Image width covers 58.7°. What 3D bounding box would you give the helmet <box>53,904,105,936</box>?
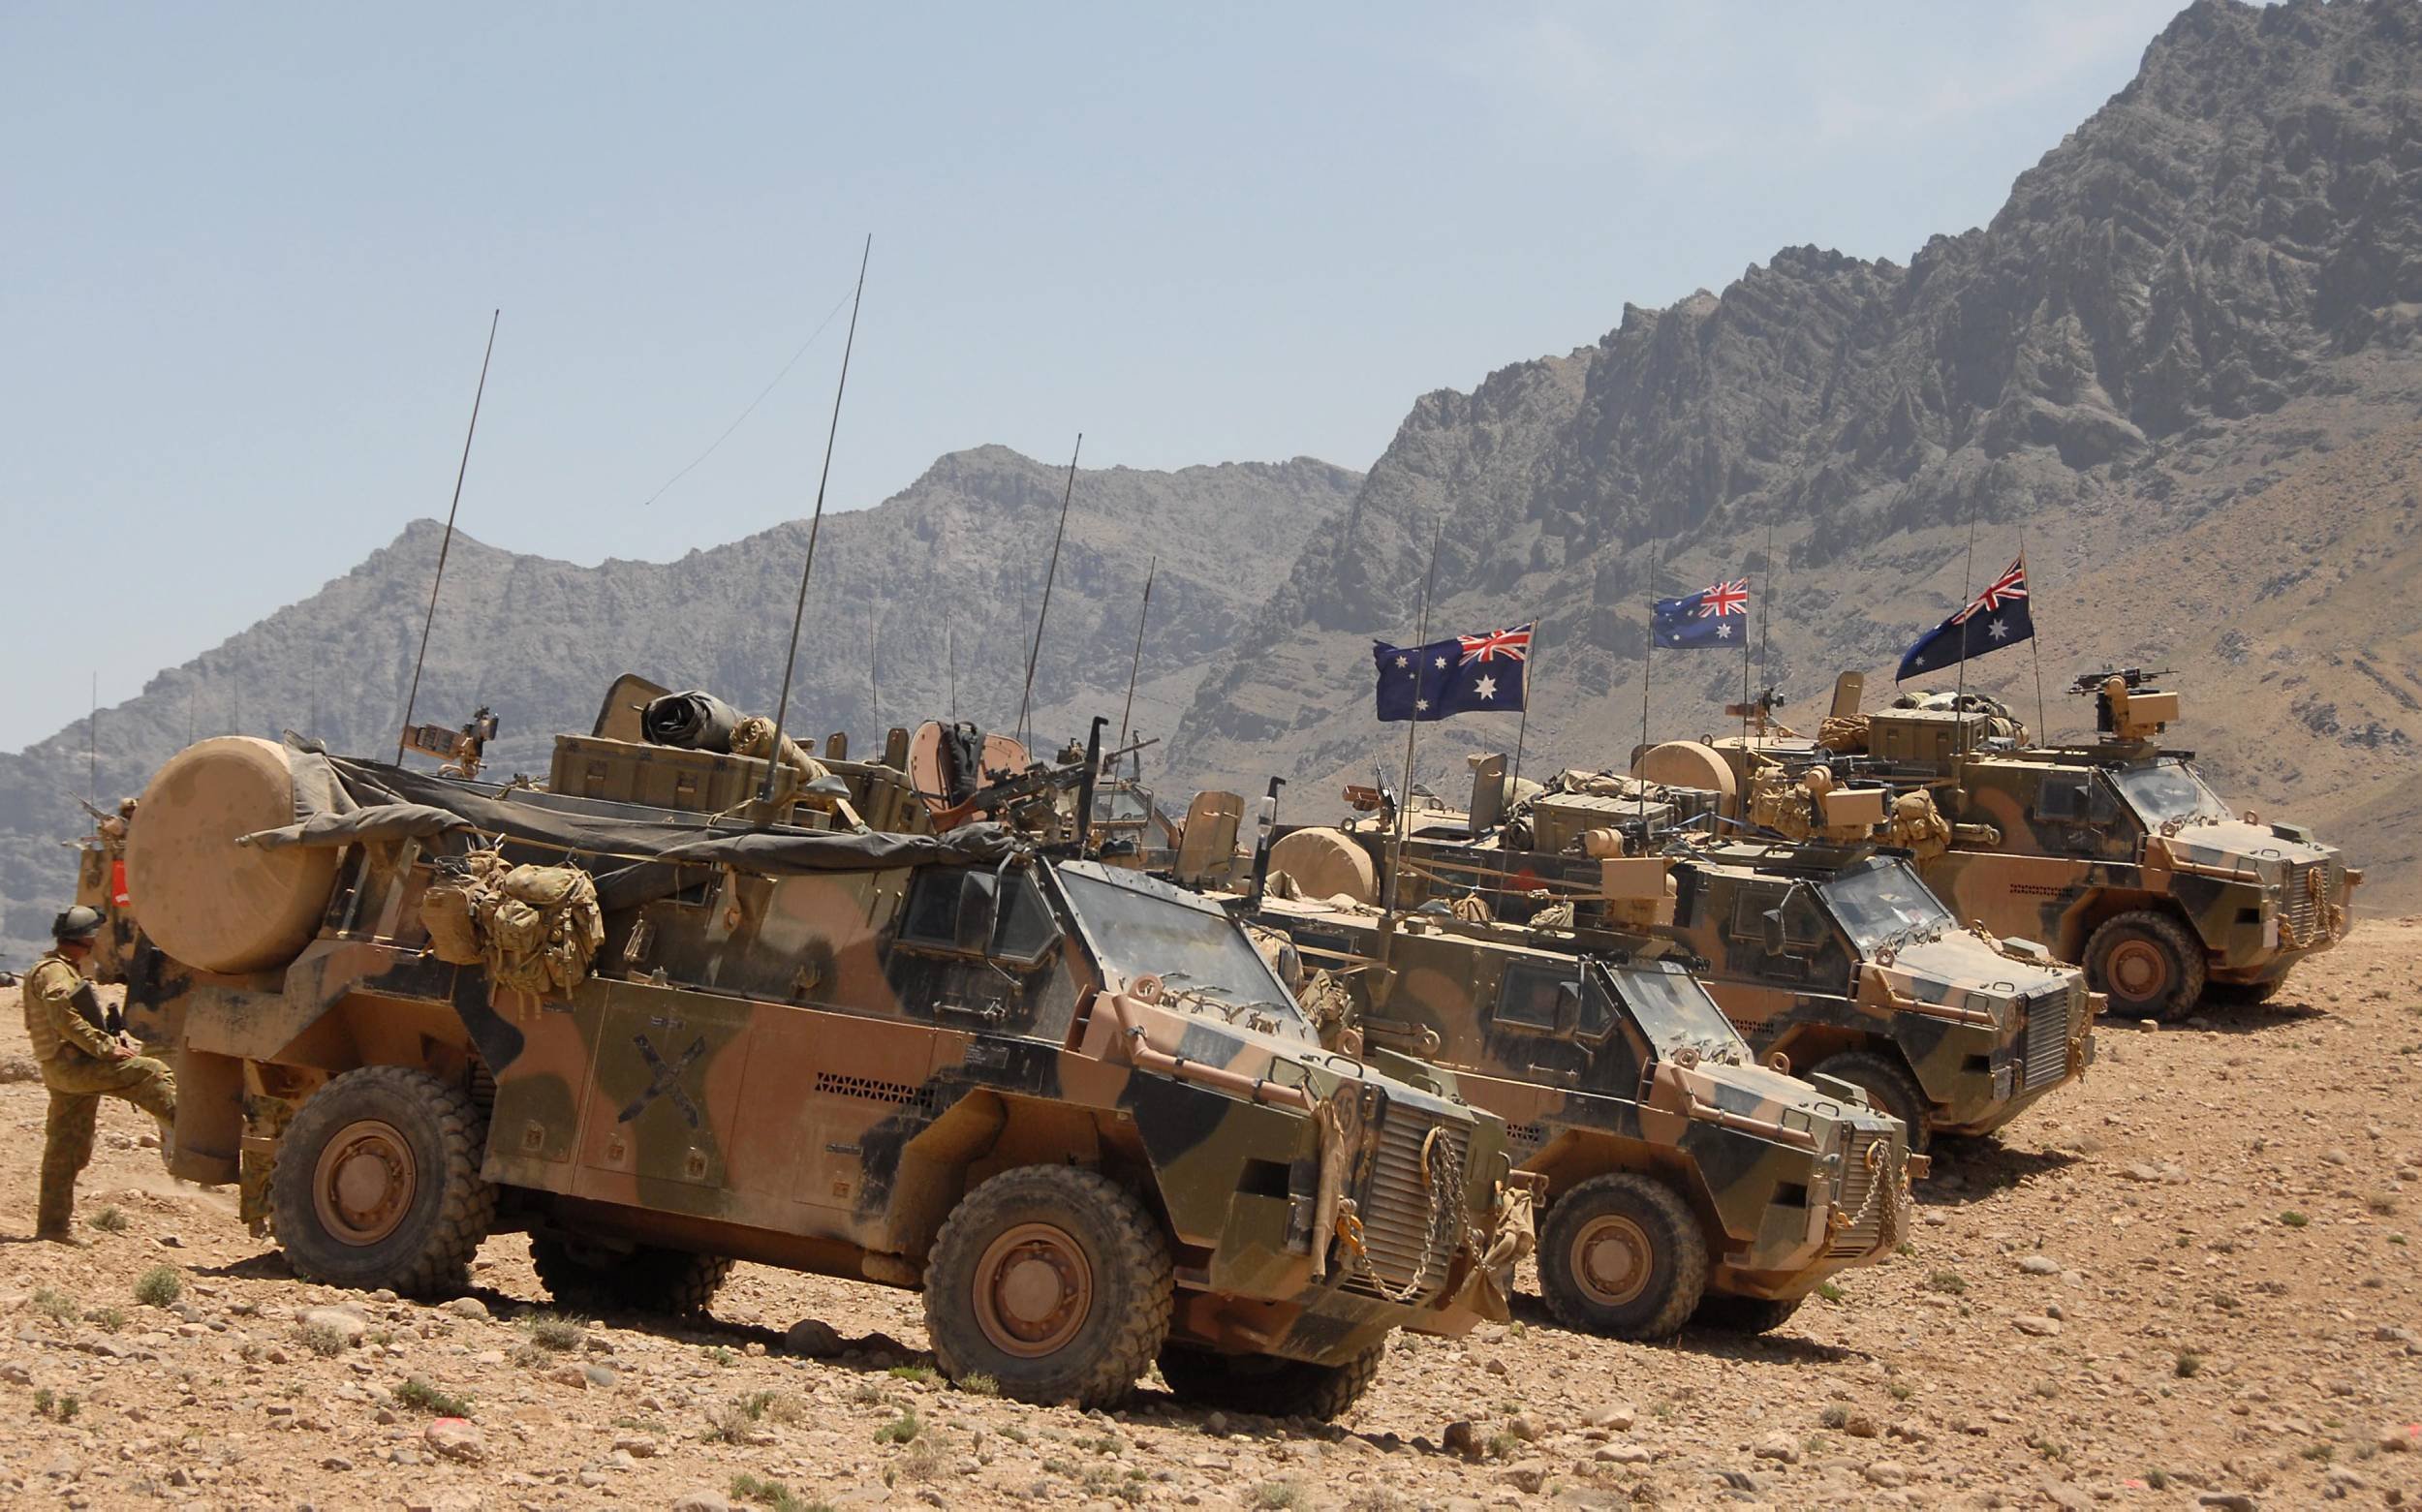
[{"bbox_3d":[-9.189,1.344,17.568,0.236,0.190,0.343,0,-3,0],"label":"helmet"}]

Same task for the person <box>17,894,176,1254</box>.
[{"bbox_3d":[-9.031,2.455,17.521,0.998,3.002,1.031,3,-1,-27],"label":"person"}]
